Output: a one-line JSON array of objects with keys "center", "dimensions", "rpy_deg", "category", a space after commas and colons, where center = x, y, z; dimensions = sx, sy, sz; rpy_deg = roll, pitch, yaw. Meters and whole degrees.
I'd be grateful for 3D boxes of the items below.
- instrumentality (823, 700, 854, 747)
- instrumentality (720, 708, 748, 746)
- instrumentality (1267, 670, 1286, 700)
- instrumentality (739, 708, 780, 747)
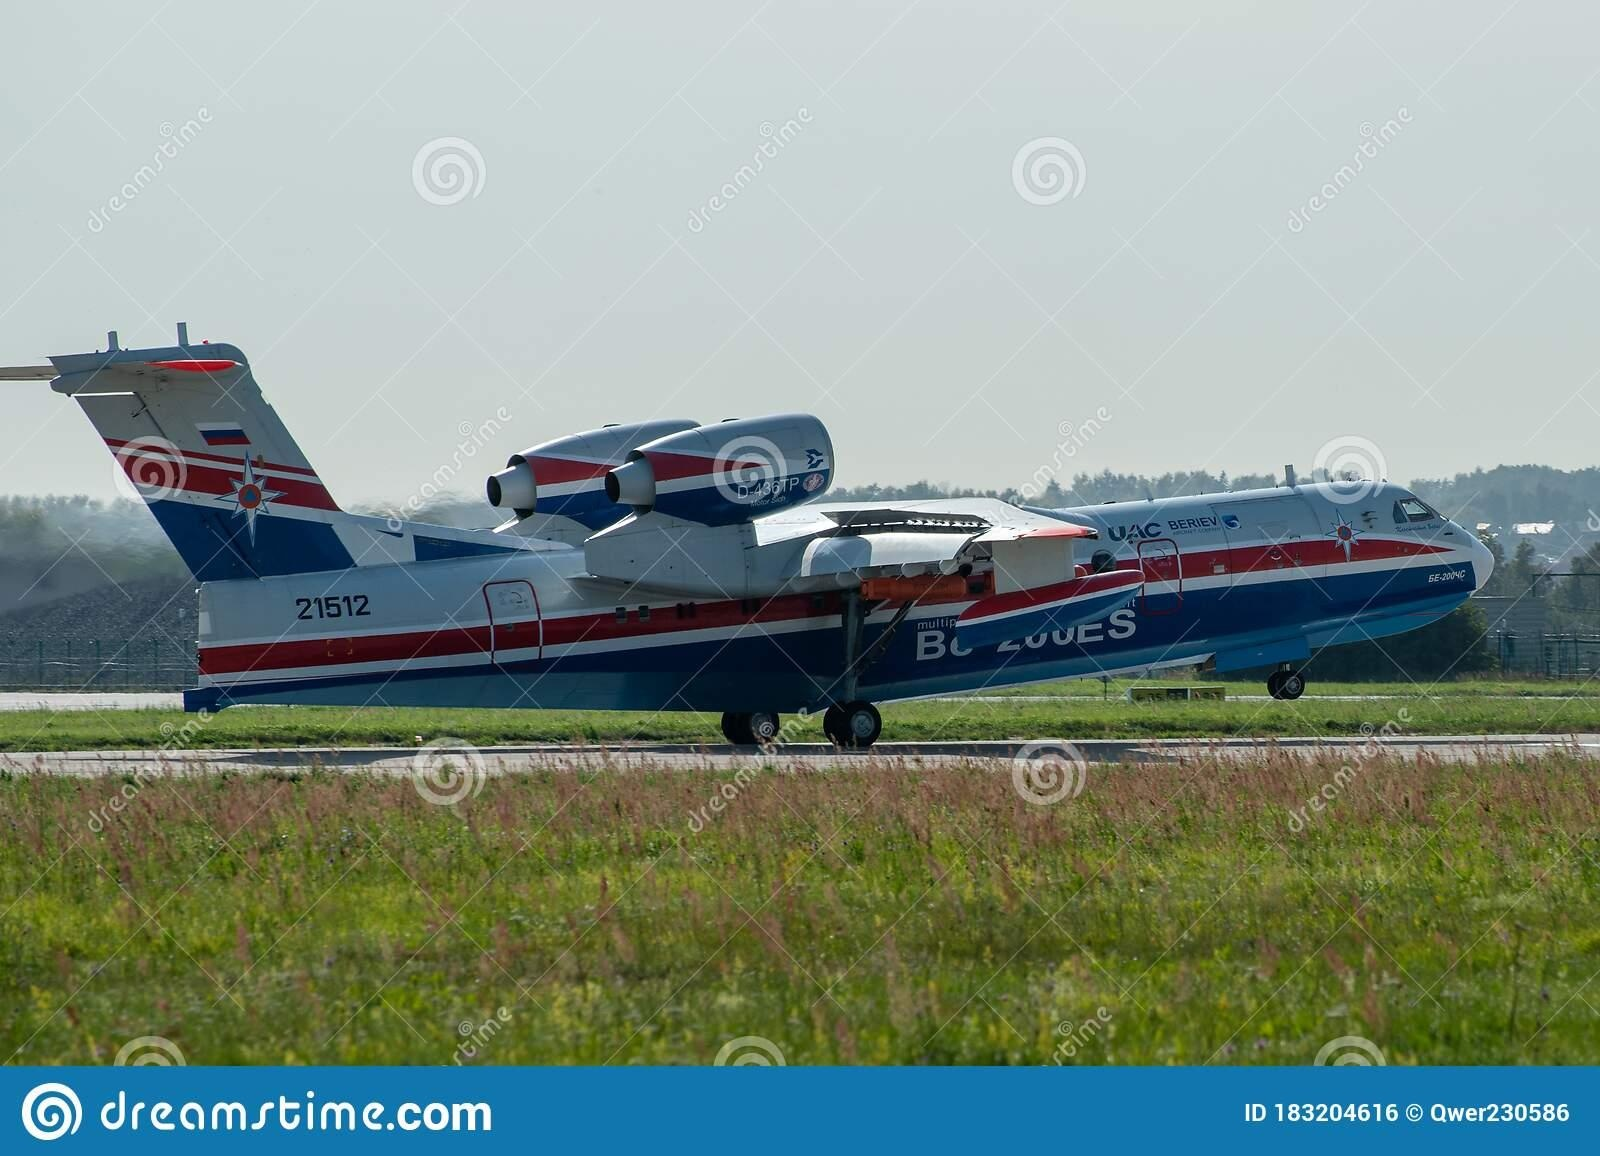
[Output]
[{"center": [0.628, 2.374, 41.265], "dimensions": [0.771, 0.815, 0.293], "rpy_deg": [-3, 6, -20], "category": "instrumentality"}, {"center": [-1.183, 2.559, 42.676], "dimensions": [0.545, 0.520, 0.138], "rpy_deg": [-1, 1, -25], "category": "instrumentality"}, {"center": [9.059, 2.043, 47.596], "dimensions": [0.586, 0.560, 0.138], "rpy_deg": [3, -3, -3], "category": "instrumentality"}, {"center": [-0.730, 2.524, 42.285], "dimensions": [0.721, 0.688, 0.281], "rpy_deg": [1, 0, -6], "category": "instrumentality"}]
